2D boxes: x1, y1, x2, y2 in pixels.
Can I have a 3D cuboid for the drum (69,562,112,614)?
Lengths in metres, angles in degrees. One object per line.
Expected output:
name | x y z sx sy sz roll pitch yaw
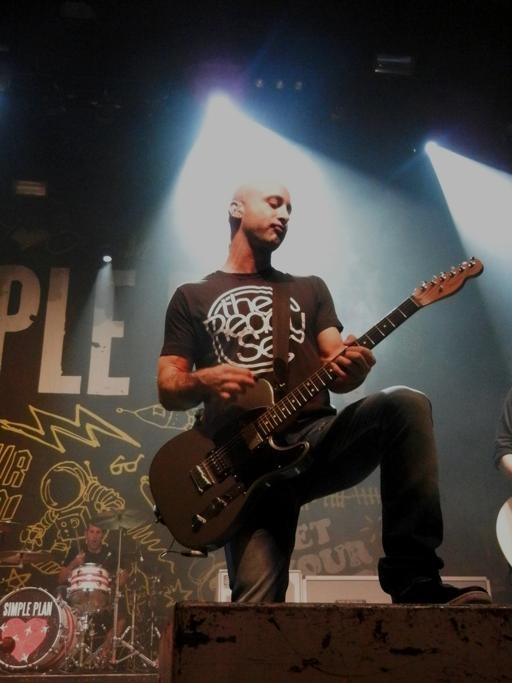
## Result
drum | -0.946 1.479 3.555 0.257 0.243 0.243 -16 -43 -6
